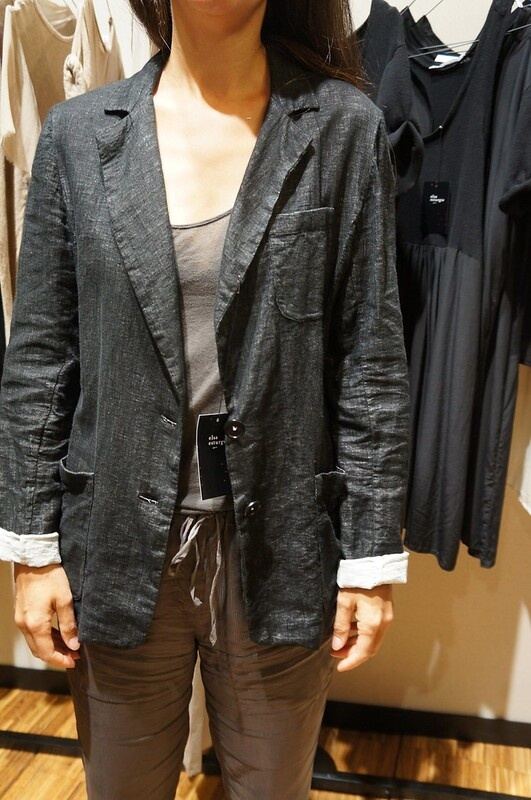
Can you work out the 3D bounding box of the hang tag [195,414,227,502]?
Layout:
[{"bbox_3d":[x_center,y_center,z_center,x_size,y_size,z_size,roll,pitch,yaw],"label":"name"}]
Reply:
[{"bbox_3d":[-0.056,0.060,0.784,0.003,0.092,0.069,3,5,32],"label":"hang tag"}]
